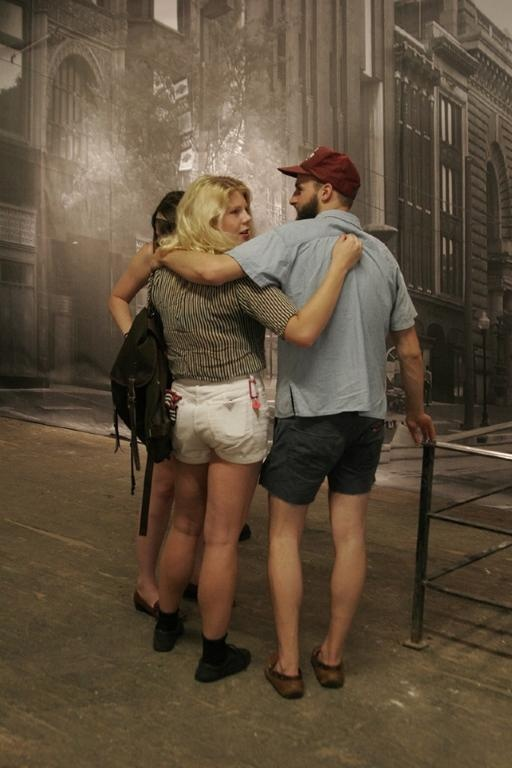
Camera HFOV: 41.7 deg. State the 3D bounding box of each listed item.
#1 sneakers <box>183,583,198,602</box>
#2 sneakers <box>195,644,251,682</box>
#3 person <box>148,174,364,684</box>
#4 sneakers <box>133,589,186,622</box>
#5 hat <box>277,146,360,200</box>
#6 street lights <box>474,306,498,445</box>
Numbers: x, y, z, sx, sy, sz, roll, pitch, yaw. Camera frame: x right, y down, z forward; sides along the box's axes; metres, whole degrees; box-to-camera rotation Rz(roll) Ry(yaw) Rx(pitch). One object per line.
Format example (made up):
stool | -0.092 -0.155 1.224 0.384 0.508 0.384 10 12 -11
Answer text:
sneakers | -0.280 0.885 2.892 0.045 0.059 0.129 3 -2 -7
sneakers | -0.110 0.906 2.223 0.076 0.092 0.197 0 3 40
person | -0.091 0.149 2.121 0.400 1.257 0.733 2 2 -43
sneakers | -0.407 0.895 2.745 0.168 0.080 0.059 14 -3 23
hat | 0.202 -0.671 2.157 0.238 0.129 0.155 27 22 -5
street lights | 1.851 -0.143 5.442 0.089 1.015 0.168 2 1 -1
